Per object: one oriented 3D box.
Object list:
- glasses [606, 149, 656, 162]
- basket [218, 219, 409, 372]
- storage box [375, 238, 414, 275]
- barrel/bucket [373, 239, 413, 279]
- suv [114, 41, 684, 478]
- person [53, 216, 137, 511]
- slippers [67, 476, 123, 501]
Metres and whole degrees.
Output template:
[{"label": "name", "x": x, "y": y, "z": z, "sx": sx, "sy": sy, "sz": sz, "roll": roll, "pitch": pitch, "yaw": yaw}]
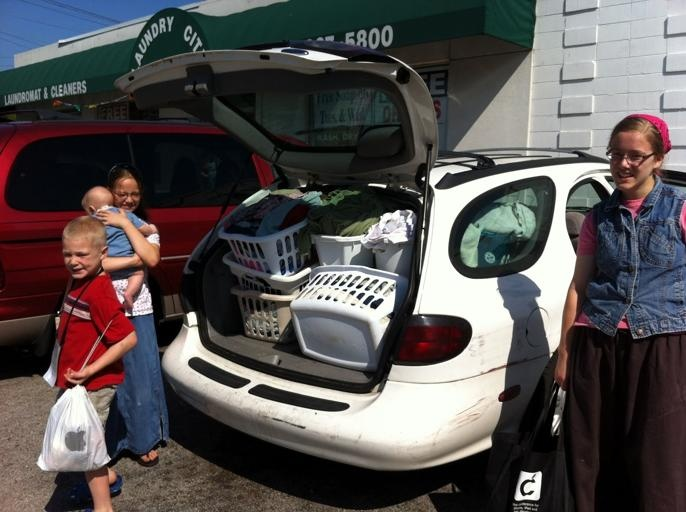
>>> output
[{"label": "glasses", "x": 1.322, "y": -0.455, "z": 2.473, "sx": 0.193, "sy": 0.050, "sz": 0.111, "roll": 8, "pitch": 15, "yaw": 34}, {"label": "basket", "x": -0.015, "y": 0.340, "z": 3.173, "sx": 0.867, "sy": 0.566, "sz": 0.648, "roll": 5, "pitch": 17, "yaw": 24}, {"label": "storage box", "x": 0.313, "y": -0.001, "z": 3.221, "sx": 0.198, "sy": 0.197, "sz": 0.210, "roll": -3, "pitch": 7, "yaw": -30}, {"label": "barrel/bucket", "x": 0.307, "y": 0.015, "z": 3.226, "sx": 0.219, "sy": 0.221, "sz": 0.215, "roll": 0, "pitch": 5, "yaw": 0}, {"label": "suv", "x": 0.785, "y": 0.122, "z": 4.126, "sx": 3.758, "sy": 1.963, "sz": 2.296, "roll": 1, "pitch": 1, "yaw": -42}, {"label": "person", "x": -1.355, "y": 0.366, "z": 2.879, "sx": 0.396, "sy": 1.121, "sz": 0.401, "roll": -9, "pitch": 15, "yaw": -32}, {"label": "slippers", "x": -1.499, "y": 1.408, "z": 3.228, "sx": 0.248, "sy": 0.096, "sz": 0.131, "roll": 5, "pitch": -5, "yaw": -11}]
